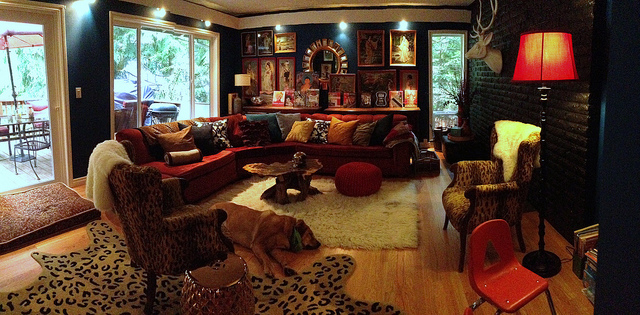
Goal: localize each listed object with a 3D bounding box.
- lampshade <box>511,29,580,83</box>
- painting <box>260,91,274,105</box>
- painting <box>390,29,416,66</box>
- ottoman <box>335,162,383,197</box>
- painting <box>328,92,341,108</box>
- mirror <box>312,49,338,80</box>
[{"bbox_3d":[3.120,-1.341,5.236,1.024,0.696,0.894,-1,9,8],"label":"lampshade"},{"bbox_3d":[-1.508,-1.644,10.510,0.491,0.386,0.234,1,3,10],"label":"painting"},{"bbox_3d":[2.171,-2.919,9.872,1.091,1.099,0.089,0,8,0],"label":"painting"},{"bbox_3d":[0.784,0.371,7.070,0.689,0.303,0.665,4,7,29],"label":"ottoman"},{"bbox_3d":[0.354,-1.523,10.015,0.413,0.348,0.099,0,-5,8],"label":"painting"},{"bbox_3d":[0.133,-2.517,10.110,0.964,1.055,0.085,0,6,2],"label":"mirror"}]
